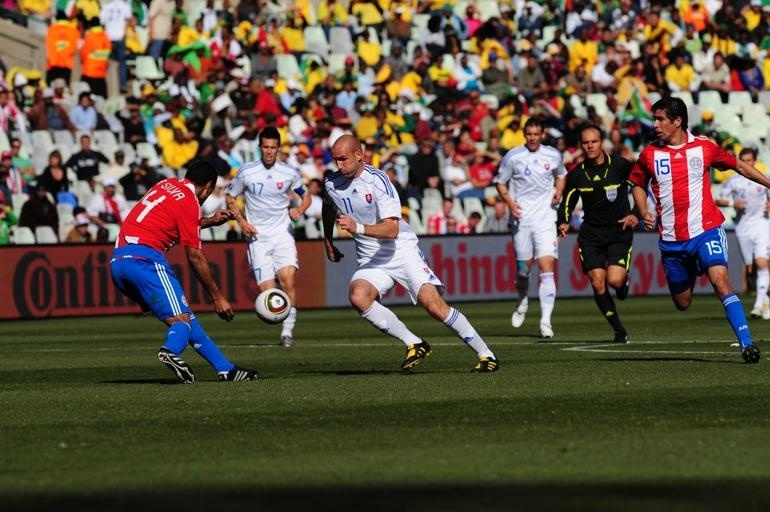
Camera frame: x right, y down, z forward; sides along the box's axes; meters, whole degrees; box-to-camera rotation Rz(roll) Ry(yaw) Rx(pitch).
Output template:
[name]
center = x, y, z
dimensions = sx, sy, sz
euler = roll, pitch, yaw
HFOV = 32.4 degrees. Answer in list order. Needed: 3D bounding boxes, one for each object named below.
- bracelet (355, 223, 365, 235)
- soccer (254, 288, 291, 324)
[bracelet]
center = -0.333, -0.351, 17.300
dimensions = 0.125, 0.124, 0.127
euler = 1, -2, -1
[soccer]
center = -1.688, 0.756, 19.599
dimensions = 0.613, 0.644, 0.621
euler = 1, -3, -15
